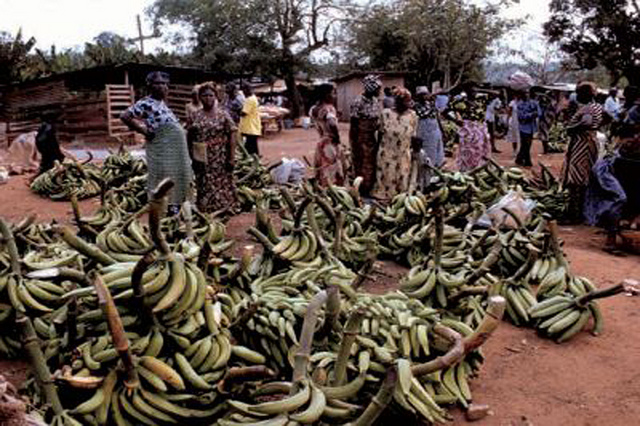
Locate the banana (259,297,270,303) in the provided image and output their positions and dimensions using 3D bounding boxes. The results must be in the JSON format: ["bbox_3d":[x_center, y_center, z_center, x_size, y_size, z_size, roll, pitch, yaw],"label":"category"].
[{"bbox_3d":[-0.436,0.677,3.896,0.078,0.031,0.060,0,10,-5],"label":"banana"}]

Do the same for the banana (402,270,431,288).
[{"bbox_3d":[0.836,0.570,4.300,0.308,0.084,0.102,-43,16,39],"label":"banana"}]

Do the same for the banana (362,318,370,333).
[{"bbox_3d":[0.354,0.865,3.834,0.055,0.103,0.043,-12,-30,17],"label":"banana"}]

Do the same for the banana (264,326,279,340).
[{"bbox_3d":[-0.371,0.909,3.753,0.044,0.146,0.038,-46,3,-13],"label":"banana"}]

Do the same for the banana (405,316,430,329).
[{"bbox_3d":[0.730,0.822,3.779,0.122,0.031,0.092,5,44,-17],"label":"banana"}]

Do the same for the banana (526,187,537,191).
[{"bbox_3d":[3.004,-0.342,7.053,0.145,0.047,0.040,28,3,-7],"label":"banana"}]

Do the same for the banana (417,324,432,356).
[{"bbox_3d":[0.788,0.945,3.695,0.115,0.203,0.050,-7,-5,-33],"label":"banana"}]

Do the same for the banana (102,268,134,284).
[{"bbox_3d":[-1.387,0.434,3.419,0.246,0.047,0.063,-10,-25,-28],"label":"banana"}]

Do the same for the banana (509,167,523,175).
[{"bbox_3d":[2.801,-0.562,7.043,0.168,0.102,0.124,6,26,-7],"label":"banana"}]

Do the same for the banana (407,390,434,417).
[{"bbox_3d":[0.685,1.335,3.482,0.190,0.182,0.097,-3,11,-21],"label":"banana"}]

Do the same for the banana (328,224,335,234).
[{"bbox_3d":[0.129,0.169,5.834,0.062,0.088,0.154,1,10,6],"label":"banana"}]

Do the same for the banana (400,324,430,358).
[{"bbox_3d":[0.708,0.944,3.707,0.192,0.225,0.064,-4,-12,16],"label":"banana"}]

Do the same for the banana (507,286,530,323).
[{"bbox_3d":[1.980,0.909,4.958,0.120,0.355,0.080,-11,-25,-32],"label":"banana"}]

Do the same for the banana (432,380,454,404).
[{"bbox_3d":[0.948,1.410,3.902,0.187,0.045,0.125,40,49,15],"label":"banana"}]

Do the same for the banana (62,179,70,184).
[{"bbox_3d":[-5.211,-0.644,10.177,0.101,0.051,0.140,-3,0,-21],"label":"banana"}]

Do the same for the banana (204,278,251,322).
[{"bbox_3d":[-0.737,0.698,3.978,0.232,0.105,0.359,38,-3,-40],"label":"banana"}]

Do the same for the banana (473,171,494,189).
[{"bbox_3d":[2.242,-0.446,6.811,0.078,0.060,0.300,-20,51,-19],"label":"banana"}]

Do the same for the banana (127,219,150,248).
[{"bbox_3d":[-1.511,0.182,4.141,0.137,0.256,0.069,10,-45,-49],"label":"banana"}]

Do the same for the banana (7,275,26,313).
[{"bbox_3d":[-2.319,0.603,3.802,0.104,0.301,0.079,-15,-7,-39],"label":"banana"}]

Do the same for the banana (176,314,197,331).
[{"bbox_3d":[-0.968,0.777,3.502,0.194,0.053,0.066,-31,40,7],"label":"banana"}]

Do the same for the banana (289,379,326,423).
[{"bbox_3d":[-0.038,1.127,3.007,0.140,0.195,0.299,8,12,35],"label":"banana"}]

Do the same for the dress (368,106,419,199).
[{"bbox_3d":[1.233,-0.976,8.158,0.782,1.524,0.584,1,11,5],"label":"dress"}]

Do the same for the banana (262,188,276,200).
[{"bbox_3d":[-0.787,-0.292,7.647,0.149,0.090,0.229,5,-7,-10],"label":"banana"}]

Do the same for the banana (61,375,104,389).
[{"bbox_3d":[-1.560,1.110,3.279,0.305,0.095,0.082,9,-27,-21],"label":"banana"}]

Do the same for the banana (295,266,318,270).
[{"bbox_3d":[-0.114,0.483,4.414,0.192,0.022,0.142,0,9,-3],"label":"banana"}]

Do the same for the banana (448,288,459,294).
[{"bbox_3d":[1.117,0.647,4.172,0.054,0.051,0.053,-8,7,-13],"label":"banana"}]

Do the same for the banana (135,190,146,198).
[{"bbox_3d":[-2.972,-0.339,8.235,0.114,0.032,0.121,-39,0,-38],"label":"banana"}]

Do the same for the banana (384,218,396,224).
[{"bbox_3d":[0.826,0.092,5.877,0.140,0.083,0.095,0,10,-2],"label":"banana"}]

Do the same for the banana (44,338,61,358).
[{"bbox_3d":[-1.938,0.967,3.580,0.135,0.125,0.066,2,11,10],"label":"banana"}]

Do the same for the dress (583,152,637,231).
[{"bbox_3d":[4.118,-0.332,7.151,0.442,1.090,0.553,-10,15,-44],"label":"dress"}]

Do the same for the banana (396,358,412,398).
[{"bbox_3d":[0.524,0.994,3.066,0.084,0.272,0.067,-4,-28,6],"label":"banana"}]

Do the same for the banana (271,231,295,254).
[{"bbox_3d":[-0.299,0.257,4.533,0.123,0.094,0.322,-43,3,35],"label":"banana"}]

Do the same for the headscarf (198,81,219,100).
[{"bbox_3d":[-1.641,-1.803,7.240,0.329,0.167,0.392,-1,4,-2],"label":"headscarf"}]

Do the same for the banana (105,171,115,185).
[{"bbox_3d":[-3.966,-0.672,9.390,0.157,0.209,0.380,-4,11,-23],"label":"banana"}]

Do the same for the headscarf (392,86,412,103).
[{"bbox_3d":[1.312,-1.907,7.964,0.236,0.141,0.272,5,26,4],"label":"headscarf"}]

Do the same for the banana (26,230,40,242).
[{"bbox_3d":[-2.661,0.212,4.593,0.090,0.035,0.088,9,28,-22],"label":"banana"}]
